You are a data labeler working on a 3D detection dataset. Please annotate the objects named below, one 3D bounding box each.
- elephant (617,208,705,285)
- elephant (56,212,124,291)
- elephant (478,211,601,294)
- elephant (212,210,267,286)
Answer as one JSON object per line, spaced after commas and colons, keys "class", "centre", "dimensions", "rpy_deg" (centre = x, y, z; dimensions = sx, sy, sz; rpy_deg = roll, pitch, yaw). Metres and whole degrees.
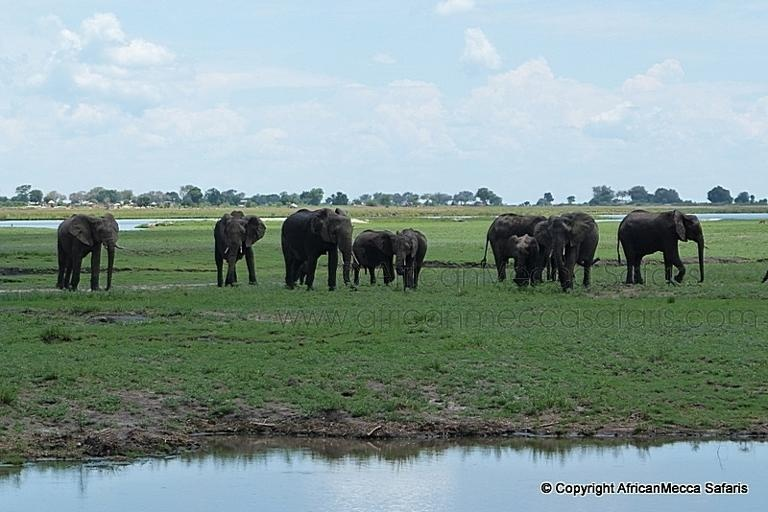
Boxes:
{"class": "elephant", "centre": [13.001, -0.507, 48.440], "dimensions": [3.675, 3.508, 2.571], "rpy_deg": [4, 13, 16]}
{"class": "elephant", "centre": [-13.186, -0.154, 45.434], "dimensions": [2.817, 3.449, 1.633], "rpy_deg": [4, 13, 18]}
{"class": "elephant", "centre": [6.900, -0.432, 48.722], "dimensions": [2.837, 3.469, 6.139], "rpy_deg": [-1, 0, -39]}
{"class": "elephant", "centre": [-6.803, -0.319, 47.978], "dimensions": [2.022, 3.537, 2.835], "rpy_deg": [-3, 13, -11]}
